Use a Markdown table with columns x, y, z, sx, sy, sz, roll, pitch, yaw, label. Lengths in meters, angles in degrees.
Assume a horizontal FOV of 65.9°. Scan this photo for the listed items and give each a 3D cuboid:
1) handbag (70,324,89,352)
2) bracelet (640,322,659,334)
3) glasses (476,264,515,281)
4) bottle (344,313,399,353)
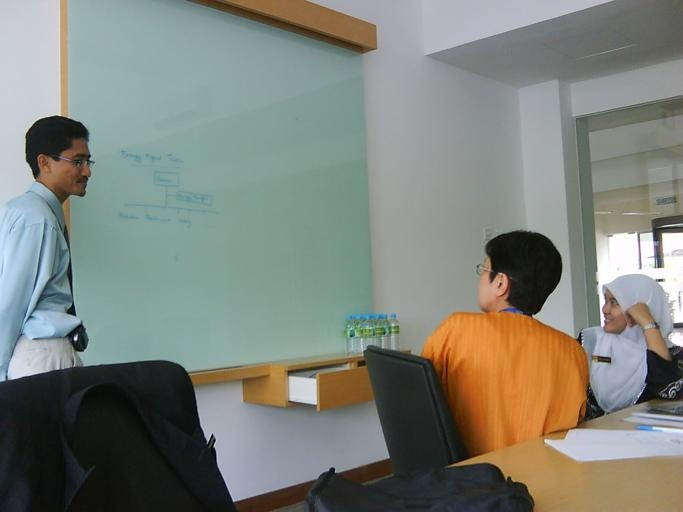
| x | y | z | sx | sy | sz | roll | pitch | yaw | label |
| --- | --- | --- | --- | --- | --- | --- | --- | --- | --- |
| -1.038 | 0.323 | 2.080 | 0.036 | 0.100 | 0.071 | -8 | -3 | 39 | handbag |
| 1.536 | 0.353 | 2.617 | 0.061 | 0.044 | 0.064 | 2 | -10 | -1 | bracelet |
| 0.533 | 0.054 | 1.807 | 0.096 | 0.031 | 0.074 | 8 | 4 | 45 | glasses |
| 0.172 | 0.483 | 3.317 | 0.284 | 0.260 | 0.100 | 4 | -10 | -32 | bottle |
